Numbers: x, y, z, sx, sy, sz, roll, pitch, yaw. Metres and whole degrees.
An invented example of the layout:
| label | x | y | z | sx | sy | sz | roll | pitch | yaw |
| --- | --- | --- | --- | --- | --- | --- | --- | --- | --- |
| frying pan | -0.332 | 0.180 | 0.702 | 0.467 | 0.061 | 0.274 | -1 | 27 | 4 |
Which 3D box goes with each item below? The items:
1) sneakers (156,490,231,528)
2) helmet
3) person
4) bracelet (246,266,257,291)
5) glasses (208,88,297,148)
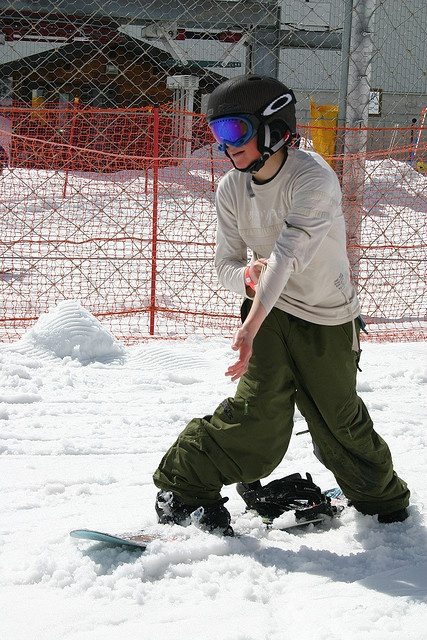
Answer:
| label | x | y | z | sx | sy | sz | roll | pitch | yaw |
| --- | --- | --- | --- | --- | --- | --- | --- | --- | --- |
| sneakers | -0.066 | 0.525 | 1.877 | 0.119 | 0.061 | 0.148 | 4 | -3 | -38 |
| helmet | 0.095 | -0.554 | 1.726 | 0.191 | 0.138 | 0.140 | -27 | 24 | -11 |
| person | 0.234 | -0.013 | 1.824 | 0.684 | 1.262 | 0.495 | -1 | 7 | -25 |
| bracelet | 0.097 | -0.110 | 1.735 | 0.025 | 0.064 | 0.069 | 2 | 6 | 2 |
| glasses | 0.099 | -0.500 | 1.661 | 0.192 | 0.105 | 0.138 | -9 | 2 | -35 |
